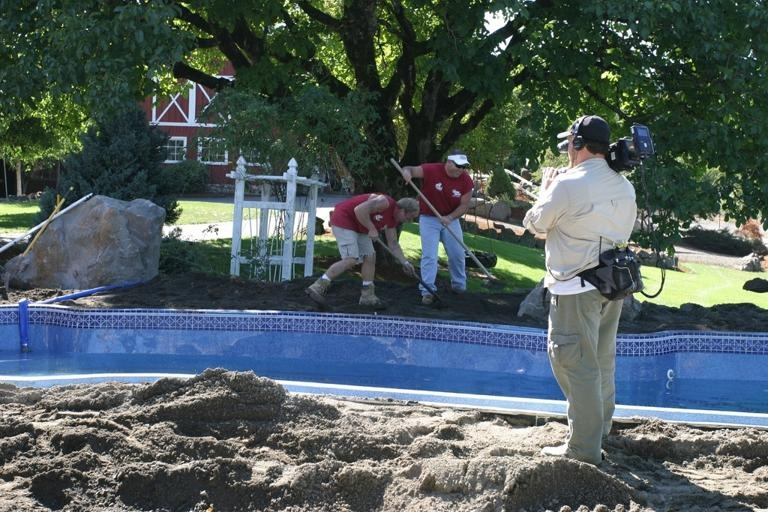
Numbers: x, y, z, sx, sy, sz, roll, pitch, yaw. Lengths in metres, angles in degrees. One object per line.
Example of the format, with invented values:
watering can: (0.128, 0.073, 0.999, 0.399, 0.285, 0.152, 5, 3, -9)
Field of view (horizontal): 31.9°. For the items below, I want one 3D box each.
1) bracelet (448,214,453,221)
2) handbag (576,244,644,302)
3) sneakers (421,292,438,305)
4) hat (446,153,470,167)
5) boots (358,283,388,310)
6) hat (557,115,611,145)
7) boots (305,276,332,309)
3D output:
bracelet: (1.185, -0.695, 23.932, 0.080, 0.067, 0.085, 0, 5, -12)
handbag: (3.198, 0.284, 19.320, 0.811, 0.855, 0.698, -5, 5, 29)
sneakers: (0.775, 0.741, 23.800, 0.185, 0.218, 0.366, 1, 1, -40)
hat: (1.317, -1.713, 23.827, 0.354, 0.246, 0.334, 1, 1, -2)
boots: (-0.231, 0.716, 23.446, 0.591, 0.561, 0.246, 0, 4, 6)
hat: (2.956, -1.779, 19.462, 0.560, 0.343, 0.441, 20, 10, 15)
boots: (-1.155, 0.604, 23.184, 0.416, 0.566, 0.324, 1, 1, -22)
